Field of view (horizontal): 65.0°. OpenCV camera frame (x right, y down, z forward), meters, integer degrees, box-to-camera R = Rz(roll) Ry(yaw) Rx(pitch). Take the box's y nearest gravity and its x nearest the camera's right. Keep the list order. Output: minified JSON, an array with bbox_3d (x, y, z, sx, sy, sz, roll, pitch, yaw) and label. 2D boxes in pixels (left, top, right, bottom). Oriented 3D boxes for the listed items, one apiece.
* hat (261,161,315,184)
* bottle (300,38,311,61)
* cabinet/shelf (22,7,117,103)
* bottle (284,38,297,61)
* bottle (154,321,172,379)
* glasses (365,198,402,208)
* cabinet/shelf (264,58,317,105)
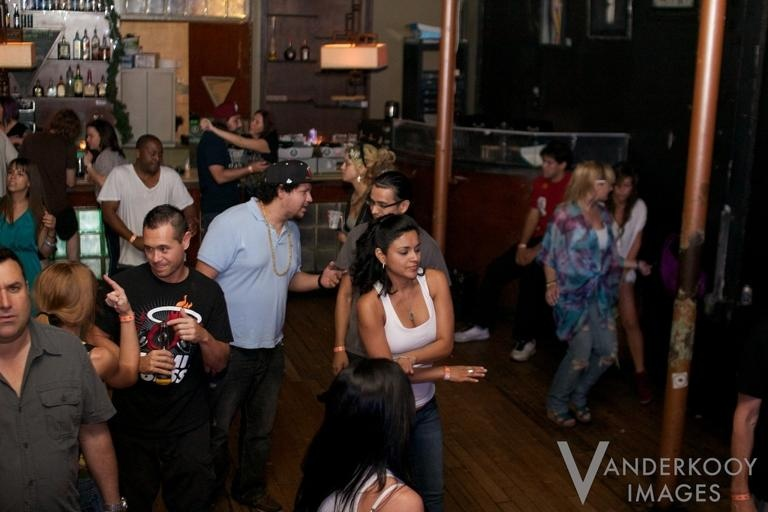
[{"bbox_3d":[-0.589,-0.505,3.522,0.215,0.107,0.147,11,19,35],"label":"hat"},{"bbox_3d":[-1.480,-3.872,11.408,0.198,0.402,0.232,0,9,-9],"label":"bottle"},{"bbox_3d":[-5.015,-3.135,9.539,1.699,1.705,0.571,0,-2,-5],"label":"cabinet/shelf"},{"bbox_3d":[-1.766,-3.854,11.357,0.240,0.389,0.256,2,9,0],"label":"bottle"},{"bbox_3d":[-1.082,0.479,2.979,0.079,0.299,0.071,2,9,3],"label":"bottle"},{"bbox_3d":[0.022,-0.322,3.764,0.207,0.054,0.077,3,10,9],"label":"glasses"},{"bbox_3d":[-1.813,-3.349,11.489,0.832,0.736,0.273,0,7,-12],"label":"cabinet/shelf"}]
